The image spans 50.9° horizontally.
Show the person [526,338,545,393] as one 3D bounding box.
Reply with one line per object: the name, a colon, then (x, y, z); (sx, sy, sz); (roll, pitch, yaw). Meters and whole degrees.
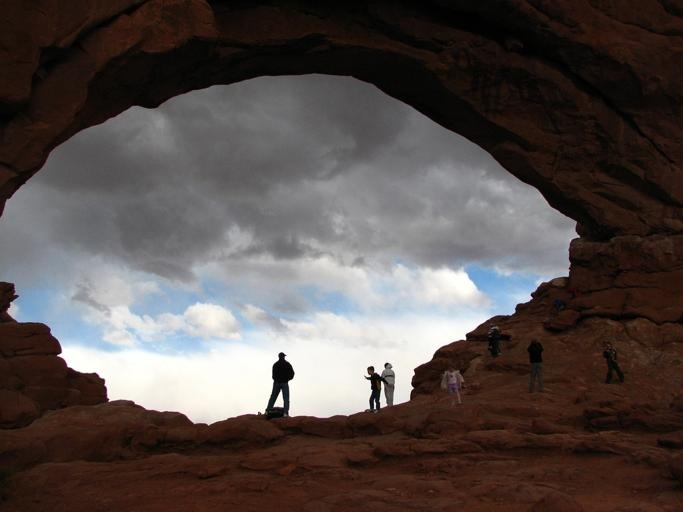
person: (8.278, 4.721, 30.581); (0.683, 2.245, 1.384); (-6, -23, 13)
